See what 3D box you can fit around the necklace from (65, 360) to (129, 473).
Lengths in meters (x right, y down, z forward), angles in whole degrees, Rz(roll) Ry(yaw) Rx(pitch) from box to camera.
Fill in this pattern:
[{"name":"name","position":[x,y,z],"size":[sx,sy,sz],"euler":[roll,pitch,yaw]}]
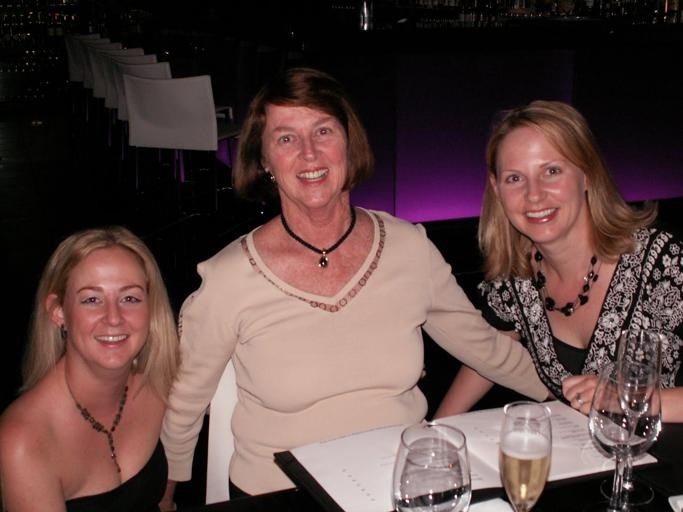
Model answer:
[{"name":"necklace","position":[-0.811,0.563,2.021],"size":[0.170,0.337,0.021],"euler":[-14,-1,-33]}]

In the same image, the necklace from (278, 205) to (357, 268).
[{"name":"necklace","position":[-0.076,-0.110,2.023],"size":[0.239,0.371,0.056],"euler":[0,39,4]}]

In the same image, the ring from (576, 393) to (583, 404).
[{"name":"ring","position":[0.752,0.453,1.866],"size":[0.017,0.023,0.015],"euler":[-3,12,7]}]
